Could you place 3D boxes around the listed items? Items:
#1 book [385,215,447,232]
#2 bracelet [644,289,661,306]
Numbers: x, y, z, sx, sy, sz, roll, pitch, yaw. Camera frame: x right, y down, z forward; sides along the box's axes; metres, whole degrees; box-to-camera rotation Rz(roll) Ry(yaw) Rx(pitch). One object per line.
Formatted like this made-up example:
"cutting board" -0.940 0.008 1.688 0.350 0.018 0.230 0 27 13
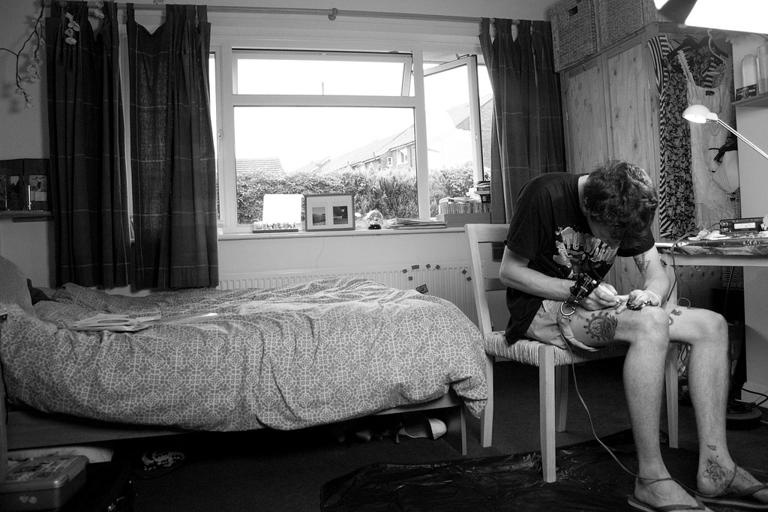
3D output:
"book" 0.239 -0.240 4.595 0.446 0.094 0.173 -2 7 3
"bracelet" 1.164 0.185 2.687 0.063 0.039 0.088 1 12 -4
